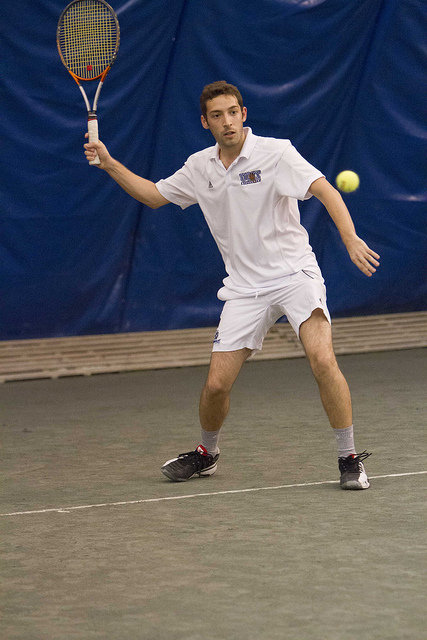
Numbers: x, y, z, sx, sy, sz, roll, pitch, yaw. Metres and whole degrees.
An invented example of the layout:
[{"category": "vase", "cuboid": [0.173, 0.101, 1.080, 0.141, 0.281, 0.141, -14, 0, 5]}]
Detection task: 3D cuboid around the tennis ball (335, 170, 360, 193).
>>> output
[{"category": "tennis ball", "cuboid": [1.217, -1.247, 6.093, 0.214, 0.188, 0.206, 6, -6, 1]}]
